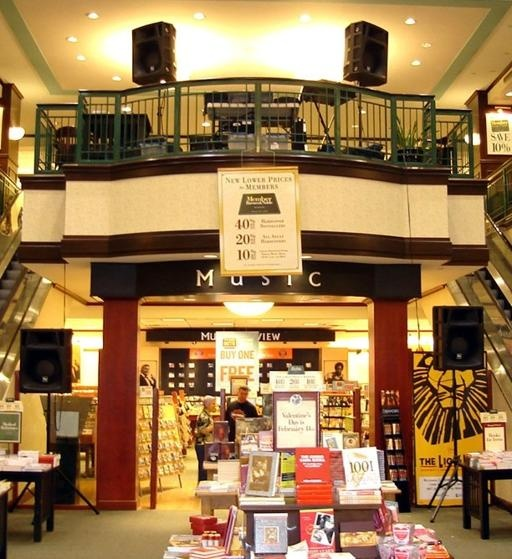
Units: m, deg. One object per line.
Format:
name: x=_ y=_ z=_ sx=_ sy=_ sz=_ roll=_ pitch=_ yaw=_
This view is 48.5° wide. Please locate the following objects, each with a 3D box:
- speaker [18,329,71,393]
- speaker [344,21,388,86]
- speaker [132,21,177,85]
speaker: x=-2.415 y=0.916 z=6.566 sx=0.553 sy=0.740 sz=0.578 roll=1 pitch=-1 yaw=3
speaker: x=1.759 y=-3.595 z=9.168 sx=0.657 sy=0.937 sz=0.471 roll=4 pitch=1 yaw=-38
speaker: x=-1.645 y=-3.624 z=9.199 sx=0.584 sy=0.871 sz=0.430 roll=-3 pitch=-3 yaw=19
